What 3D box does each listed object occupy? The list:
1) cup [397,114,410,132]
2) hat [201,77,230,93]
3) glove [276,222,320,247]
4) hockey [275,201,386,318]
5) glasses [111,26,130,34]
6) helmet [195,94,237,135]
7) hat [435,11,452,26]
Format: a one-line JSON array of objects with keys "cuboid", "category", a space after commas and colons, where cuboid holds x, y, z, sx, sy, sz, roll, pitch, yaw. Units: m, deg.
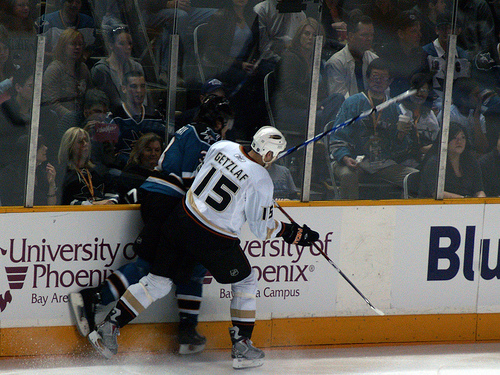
[{"cuboid": [1.259, -0.533, 6.711, 0.136, 0.152, 0.126, 3, 11, -1], "category": "cup"}, {"cuboid": [-0.276, -0.801, 6.387, 0.114, 0.073, 0.148, -1, -11, -29], "category": "hat"}, {"cuboid": [0.372, 0.366, 6.340, 0.290, 0.161, 0.099, 9, -40, -16], "category": "glove"}, {"cuboid": [0.626, 0.559, 6.739, 0.069, 1.320, 0.100, -39, 23, 7], "category": "hockey"}, {"cuboid": [-0.982, -1.196, 6.179, 0.097, 0.040, 0.071, -12, -13, 13], "category": "glasses"}, {"cuboid": [-0.265, -0.586, 6.491, 0.232, 0.292, 0.297, 20, 25, 37], "category": "helmet"}, {"cuboid": [1.568, -1.388, 6.687, 0.133, 0.094, 0.089, -17, 19, -4], "category": "hat"}]
